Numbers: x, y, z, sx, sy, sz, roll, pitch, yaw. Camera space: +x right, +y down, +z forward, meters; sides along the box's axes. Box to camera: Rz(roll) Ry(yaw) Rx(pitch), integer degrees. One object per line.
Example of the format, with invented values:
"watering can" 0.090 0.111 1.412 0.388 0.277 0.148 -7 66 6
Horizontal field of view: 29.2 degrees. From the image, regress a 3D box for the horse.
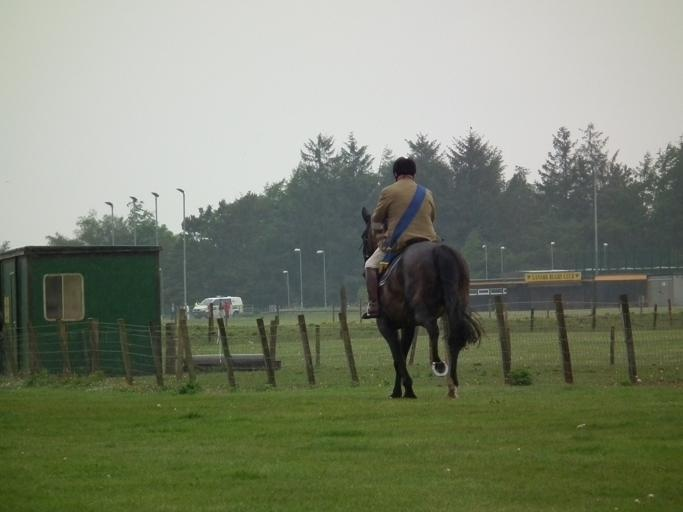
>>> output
"horse" 1.773 1.373 27.136 1.129 3.292 2.068 -4 4 -40
